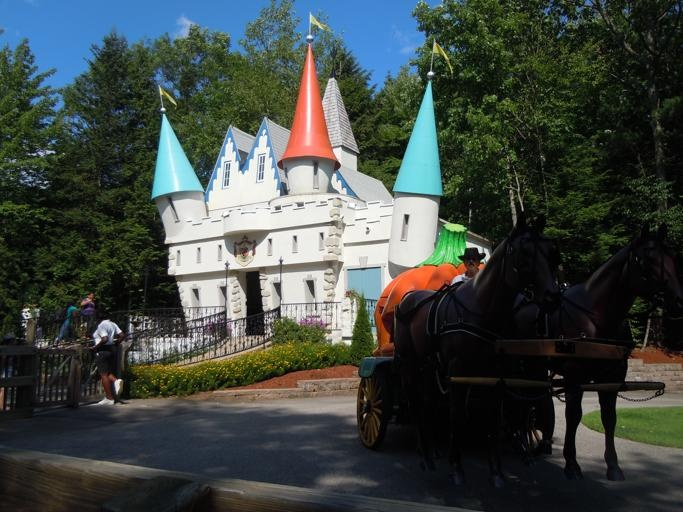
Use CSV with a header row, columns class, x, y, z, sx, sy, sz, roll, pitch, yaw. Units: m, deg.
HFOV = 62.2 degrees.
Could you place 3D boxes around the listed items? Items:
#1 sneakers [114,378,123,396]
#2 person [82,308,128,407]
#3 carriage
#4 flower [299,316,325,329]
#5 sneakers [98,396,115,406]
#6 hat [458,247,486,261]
class,x,y,z,sx,sy,sz,roll,pitch,yaw
sneakers,-5.461,3.177,13.802,0.184,0.432,0.157,3,17,10
person,-5.665,2.547,13.722,0.656,2.038,1.248,1,-5,-16
carriage,2.100,1.461,8.136,2.308,2.682,4.541,4,-12,-15
flower,-1.187,2.660,23.040,0.615,0.377,0.634,3,-6,33
sneakers,-5.683,3.465,13.615,0.338,0.197,0.171,-1,-21,14
hat,2.321,-0.043,10.190,0.465,0.209,0.531,0,-6,9
